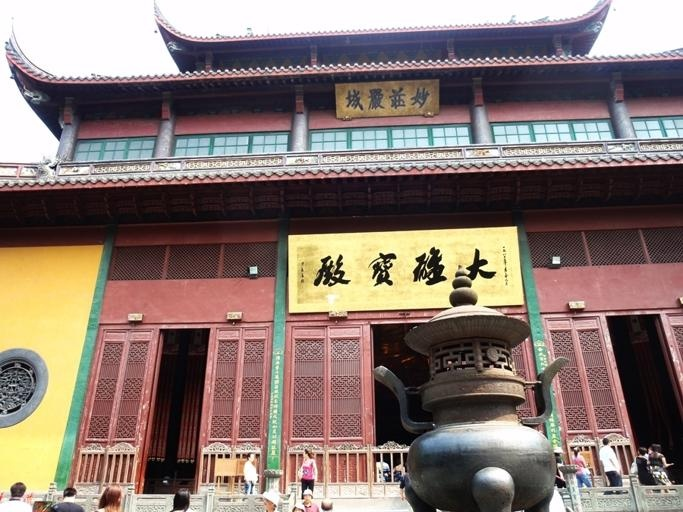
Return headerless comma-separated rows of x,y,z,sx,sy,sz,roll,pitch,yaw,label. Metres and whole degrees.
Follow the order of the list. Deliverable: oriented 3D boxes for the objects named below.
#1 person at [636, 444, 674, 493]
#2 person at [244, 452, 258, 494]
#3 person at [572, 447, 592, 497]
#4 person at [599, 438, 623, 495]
5.393,3.587,8.722,0.475,0.656,0.549,-13,-30,22,person
-1.772,4.204,9.883,0.292,0.721,0.505,4,-28,-8,person
4.383,3.894,9.117,0.403,1.070,0.313,-2,-72,28,person
5.011,3.751,9.322,0.332,0.832,1.695,-14,-28,23,person
